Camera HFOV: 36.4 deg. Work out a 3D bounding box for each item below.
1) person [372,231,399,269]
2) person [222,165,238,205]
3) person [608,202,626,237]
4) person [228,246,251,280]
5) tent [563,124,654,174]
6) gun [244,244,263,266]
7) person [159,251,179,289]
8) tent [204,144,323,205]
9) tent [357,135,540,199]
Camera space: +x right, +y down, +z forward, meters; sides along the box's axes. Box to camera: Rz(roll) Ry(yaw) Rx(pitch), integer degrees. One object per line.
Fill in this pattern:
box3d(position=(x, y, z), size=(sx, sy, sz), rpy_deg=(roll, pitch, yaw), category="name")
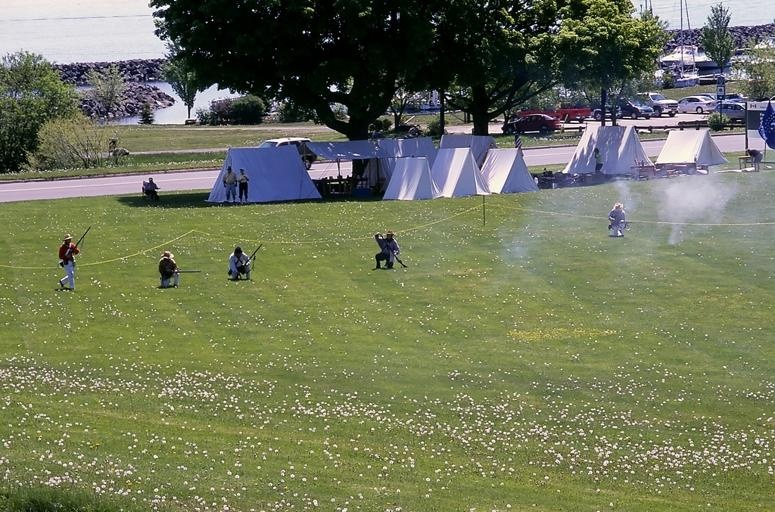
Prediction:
box3d(position=(-0.063, -0.301, 48.248), size=(0.967, 1.467, 0.866), rpy_deg=(-2, 12, -2), category="person")
box3d(position=(-8.294, -3.803, 61.579), size=(0.692, 1.882, 0.962), rpy_deg=(-3, 13, -8), category="person")
box3d(position=(10.008, -1.627, 51.009), size=(0.786, 1.360, 1.200), rpy_deg=(1, 12, 11), category="person")
box3d(position=(-6.022, 0.229, 47.277), size=(0.907, 1.272, 1.115), rpy_deg=(-3, 12, -7), category="person")
box3d(position=(13.152, -6.268, 69.511), size=(6.070, 2.248, 2.555), rpy_deg=(-1, -5, 4), category="tent")
box3d(position=(-5.648, -0.029, 49.092), size=(1.356, 0.404, 0.177), rpy_deg=(-32, 22, 34), category="gun")
box3d(position=(-8.703, 0.452, 46.452), size=(0.754, 1.375, 1.127), rpy_deg=(-4, 13, -10), category="person")
box3d(position=(-6.666, -4.399, 63.138), size=(5.168, 2.710, 3.443), rpy_deg=(-5, 10, -33), category="tent")
box3d(position=(3.629, -4.763, 62.734), size=(7.783, 2.763, 5.711), rpy_deg=(-1, 12, 0), category="tent")
